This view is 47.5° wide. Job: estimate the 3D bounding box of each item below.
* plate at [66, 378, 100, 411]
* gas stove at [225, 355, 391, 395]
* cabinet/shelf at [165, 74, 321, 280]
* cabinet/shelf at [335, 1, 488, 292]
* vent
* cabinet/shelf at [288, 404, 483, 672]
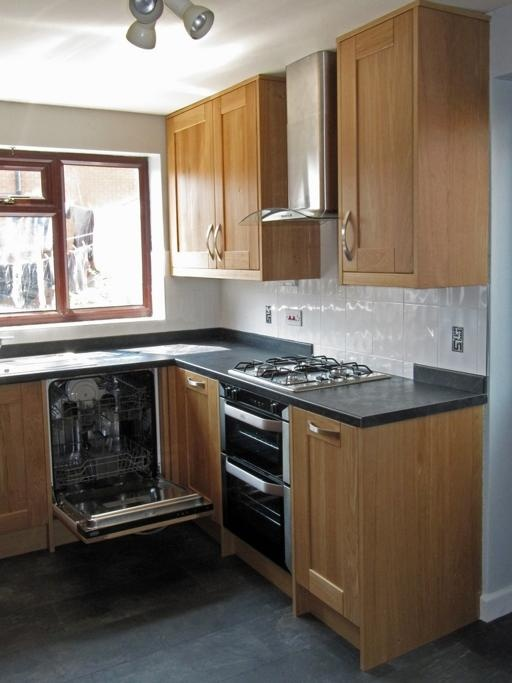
[{"bbox_3d":[-0.873,0.249,2.936,0.116,0.164,0.058,-10,27,-30],"label":"plate"},{"bbox_3d":[0.183,0.120,2.487,0.536,0.076,0.622,-4,4,-32],"label":"gas stove"},{"bbox_3d":[-0.048,-0.799,2.778,0.358,0.821,0.915,-3,8,-25],"label":"cabinet/shelf"},{"bbox_3d":[0.495,-0.623,1.924,0.515,0.889,0.313,0,3,24],"label":"cabinet/shelf"},{"bbox_3d":[0.166,-0.811,2.359,0.235,0.658,0.354,-4,4,-39],"label":"vent"},{"bbox_3d":[0.456,0.619,2.092,0.599,0.793,0.451,-4,4,-32],"label":"cabinet/shelf"}]
